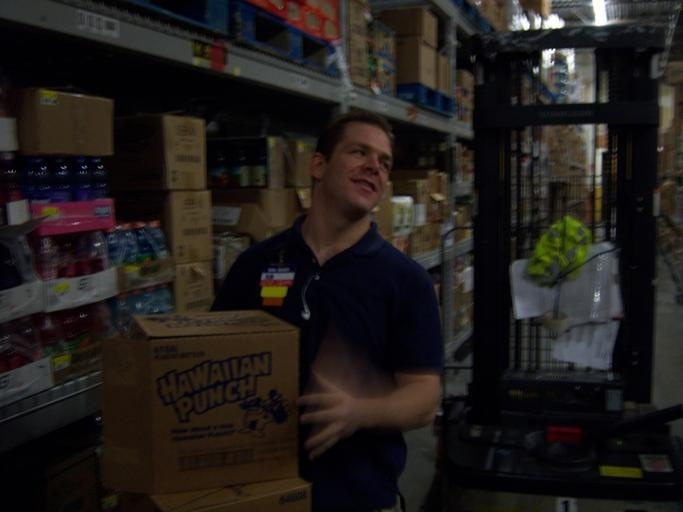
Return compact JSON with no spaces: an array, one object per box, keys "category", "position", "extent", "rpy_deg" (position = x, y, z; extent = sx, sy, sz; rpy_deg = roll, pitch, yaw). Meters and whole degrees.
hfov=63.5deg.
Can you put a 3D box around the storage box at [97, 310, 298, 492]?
[{"category":"storage box","position":[-0.348,0.370,1.552],"extent":[0.667,0.587,0.373],"rpy_deg":[1,-5,-19]}]
